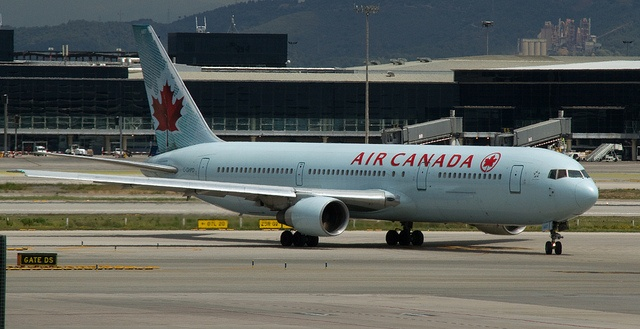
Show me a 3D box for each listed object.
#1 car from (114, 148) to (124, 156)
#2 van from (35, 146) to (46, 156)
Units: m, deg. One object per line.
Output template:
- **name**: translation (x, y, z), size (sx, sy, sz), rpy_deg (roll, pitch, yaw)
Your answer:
- **car**: translation (-50.869, -2.743, 305.826), size (2.267, 1.374, 2.997), rpy_deg (2, -11, -17)
- **van**: translation (-69.224, -3.055, 299.716), size (3.770, 2.172, 5.366), rpy_deg (0, -1, -22)
